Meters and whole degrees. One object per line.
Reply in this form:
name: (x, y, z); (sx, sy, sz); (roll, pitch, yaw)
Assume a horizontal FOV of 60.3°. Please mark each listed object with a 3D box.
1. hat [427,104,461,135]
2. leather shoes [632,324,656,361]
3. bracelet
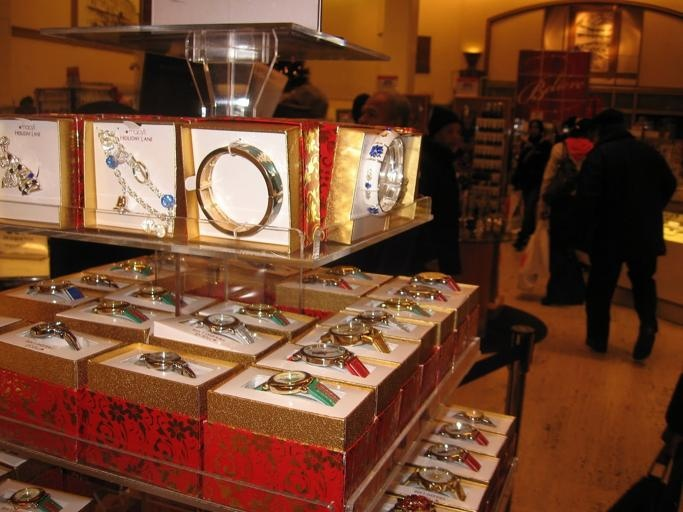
hat: (0.714, -1.000, 4.263); (0.251, 0.190, 0.192); (7, 3, 25)
leather shoes: (2.693, 0.755, 5.266); (0.142, 0.372, 0.153); (14, 5, 29)
bracelet: (-0.273, -0.176, 1.558); (0.232, 0.237, 0.076); (9, 16, 23)
